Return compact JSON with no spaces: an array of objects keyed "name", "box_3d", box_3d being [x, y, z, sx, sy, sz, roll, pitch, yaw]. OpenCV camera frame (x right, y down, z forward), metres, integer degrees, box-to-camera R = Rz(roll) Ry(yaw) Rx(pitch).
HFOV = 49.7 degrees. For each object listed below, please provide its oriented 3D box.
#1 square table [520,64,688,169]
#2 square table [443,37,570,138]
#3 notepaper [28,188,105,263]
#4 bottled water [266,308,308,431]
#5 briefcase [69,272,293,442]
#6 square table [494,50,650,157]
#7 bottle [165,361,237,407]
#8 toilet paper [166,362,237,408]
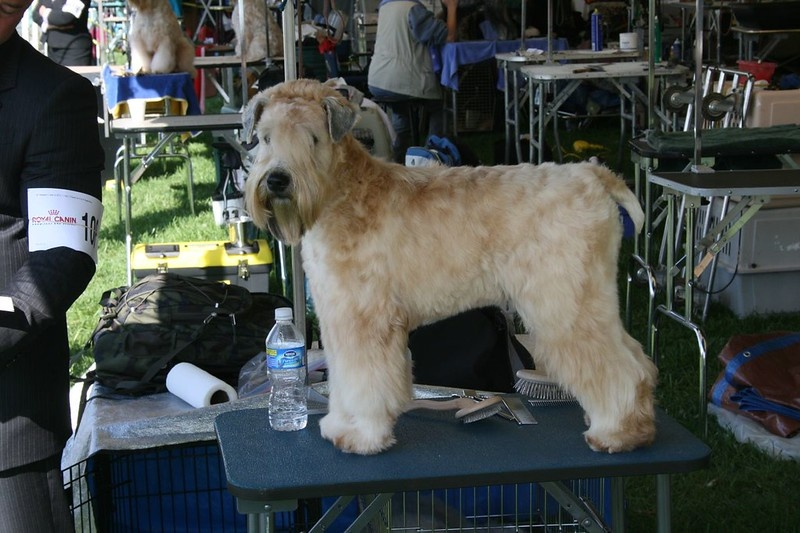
[{"name":"square table","box_3d":[1.905,-1.565,8.887,1.087,0.887,0.612,-6,17,-11]},{"name":"square table","box_3d":[1.380,-2.713,11.659,1.627,0.685,1.762,-1,11,5]},{"name":"notepaper","box_3d":[-1.360,-0.088,3.571,0.290,0.310,0.333,1,60,-20]},{"name":"bottled water","box_3d":[-0.521,0.463,3.970,0.173,0.564,0.188,5,15,21]},{"name":"briefcase","box_3d":[-1.327,0.537,5.343,0.971,0.429,0.814,0,29,-17]},{"name":"square table","box_3d":[1.963,-1.903,10.060,1.689,1.803,0.732,-6,12,-26]},{"name":"bottle","box_3d":[-1.144,0.669,4.874,0.459,0.232,0.209,-1,-6,27]},{"name":"toilet paper","box_3d":[-1.103,0.646,4.893,0.168,0.202,0.384,-29,31,-31]}]
